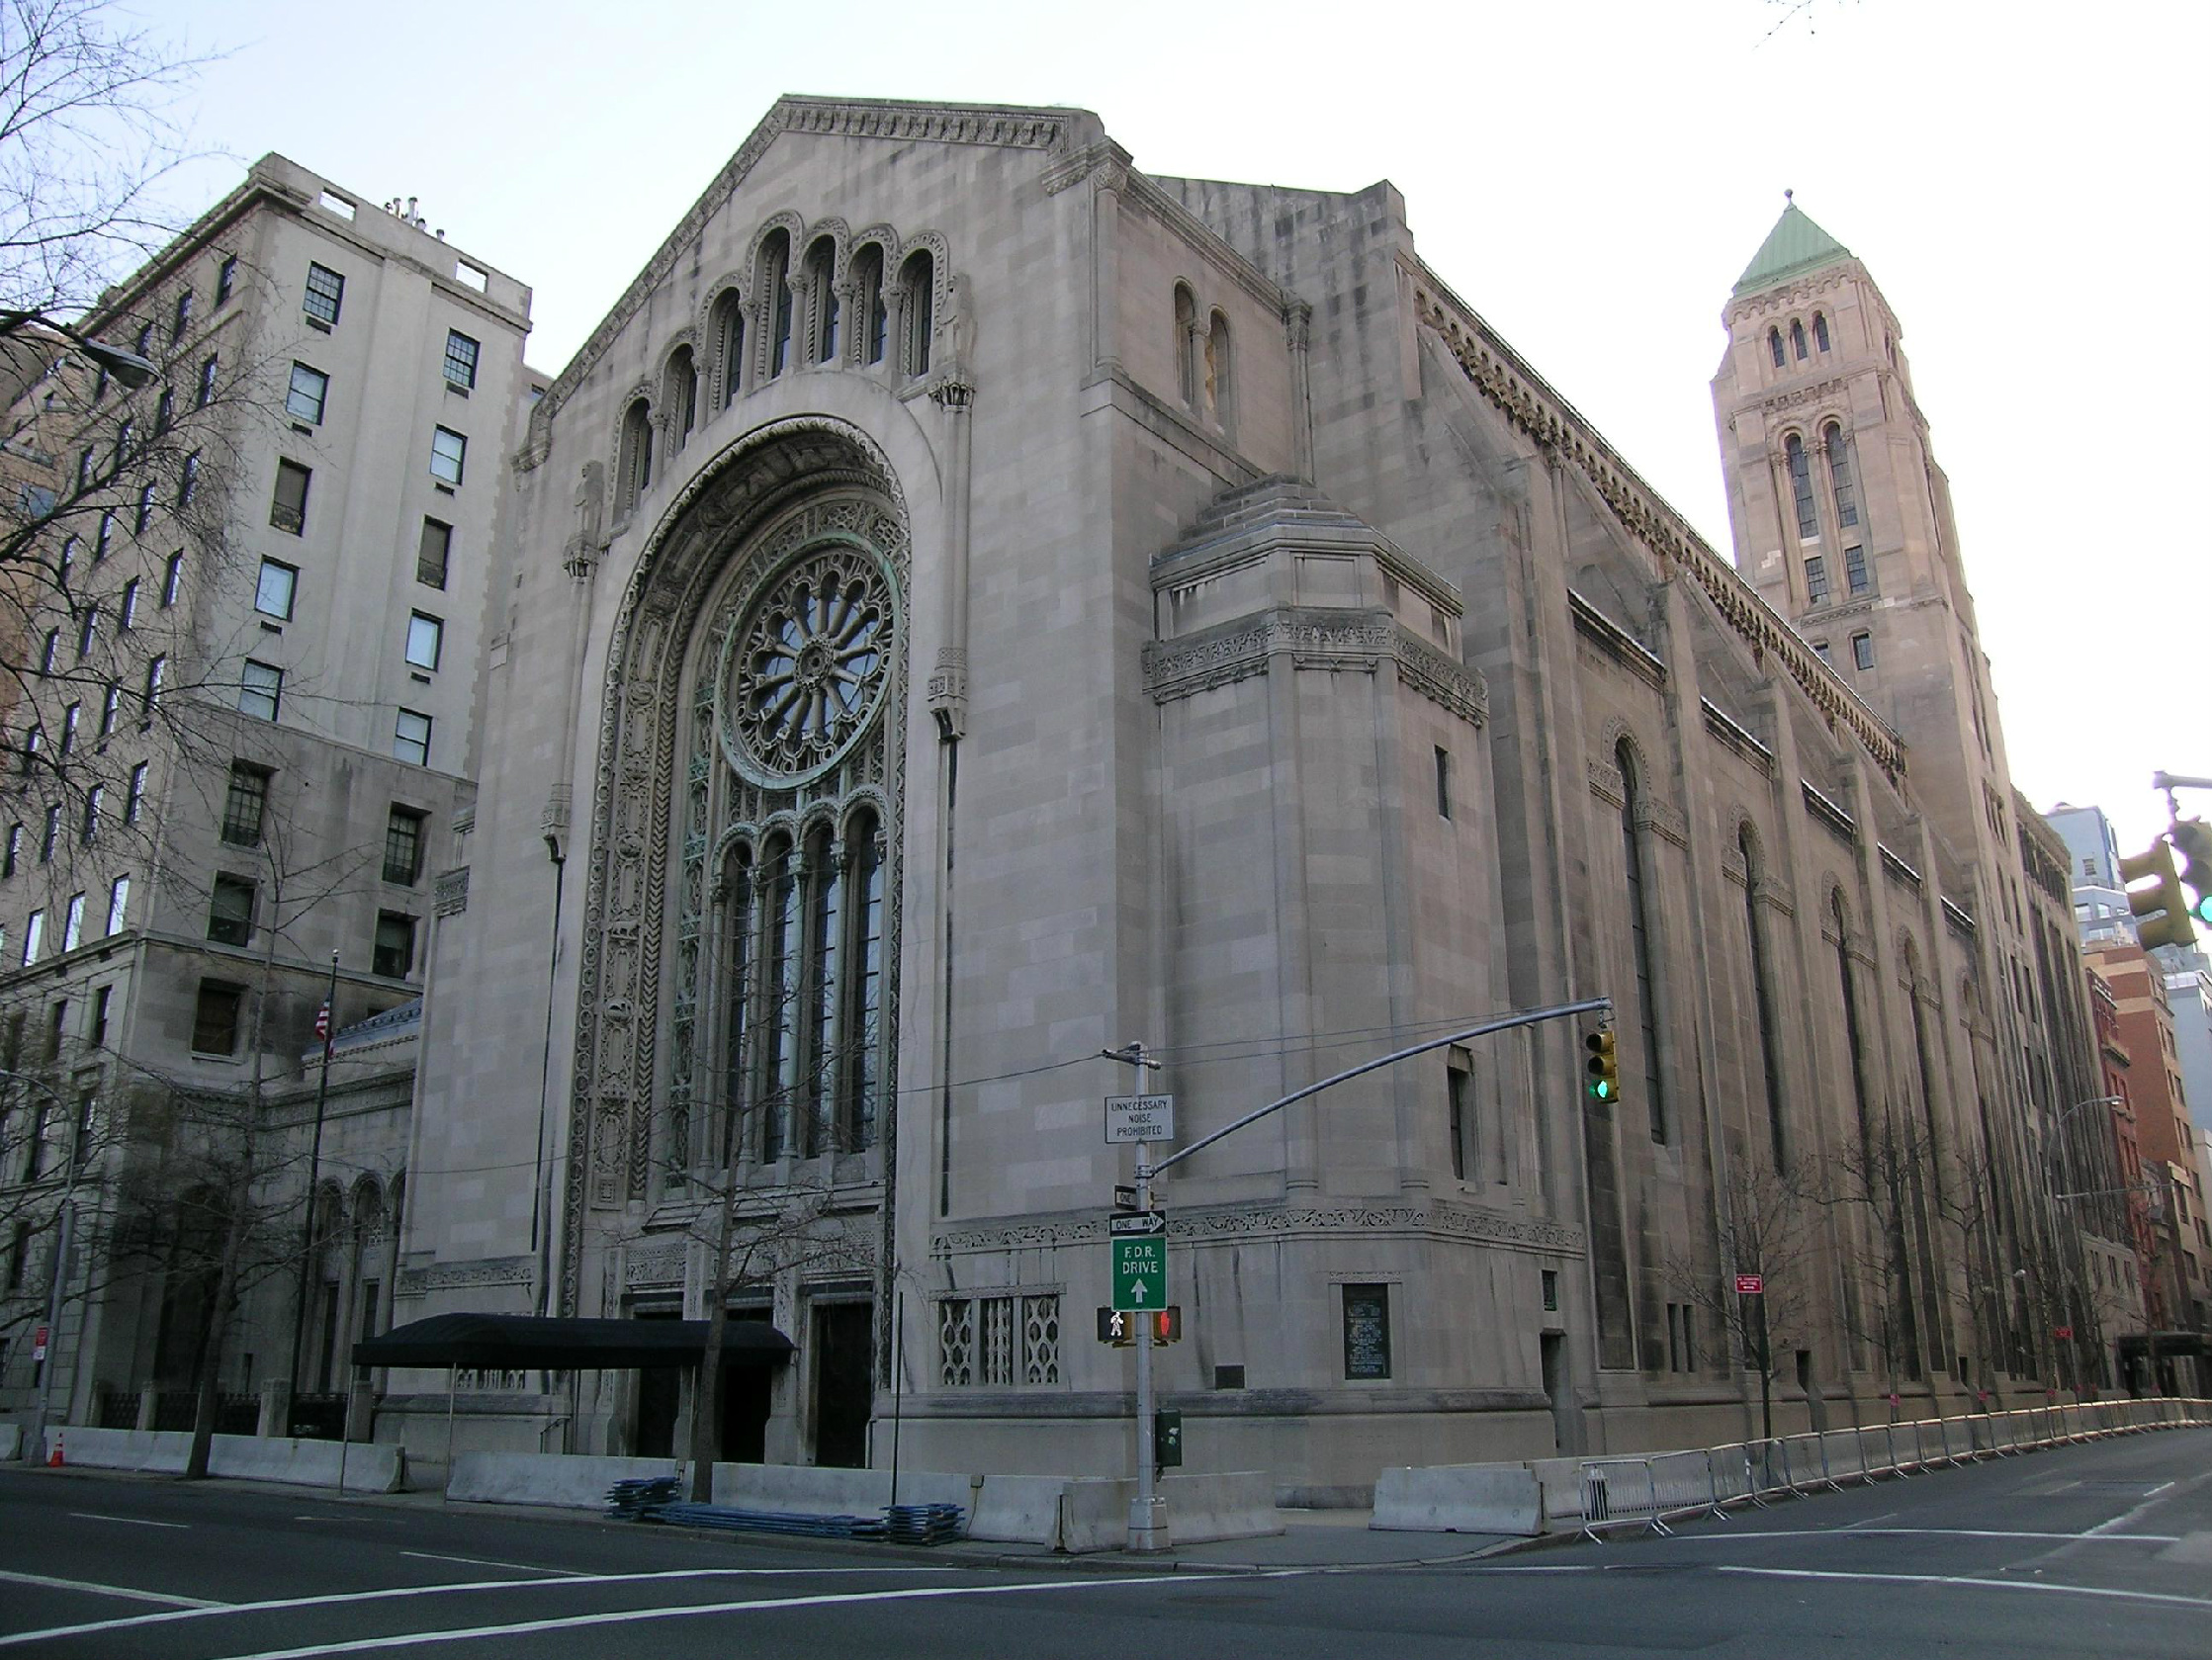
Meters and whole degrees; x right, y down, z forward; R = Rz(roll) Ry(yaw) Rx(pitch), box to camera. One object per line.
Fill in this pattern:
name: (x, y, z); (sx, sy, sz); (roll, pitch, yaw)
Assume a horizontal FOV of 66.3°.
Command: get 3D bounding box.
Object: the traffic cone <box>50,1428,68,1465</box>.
traffic cone: (-29.599, 17.439, 47.796); (0.500, 1.002, 0.549); (-15, -16, 25)
